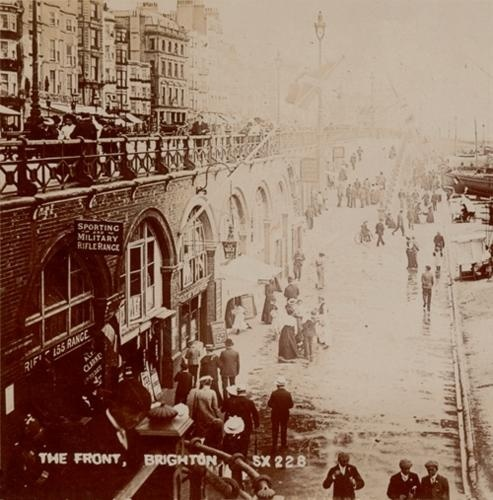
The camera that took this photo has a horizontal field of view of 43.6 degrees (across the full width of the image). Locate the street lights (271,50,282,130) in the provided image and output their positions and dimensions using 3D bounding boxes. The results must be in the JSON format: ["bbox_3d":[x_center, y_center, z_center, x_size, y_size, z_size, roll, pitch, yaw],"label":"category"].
[{"bbox_3d":[0.546,-2.997,11.398,0.164,1.437,0.194,-1,-3,17],"label":"street lights"}]
